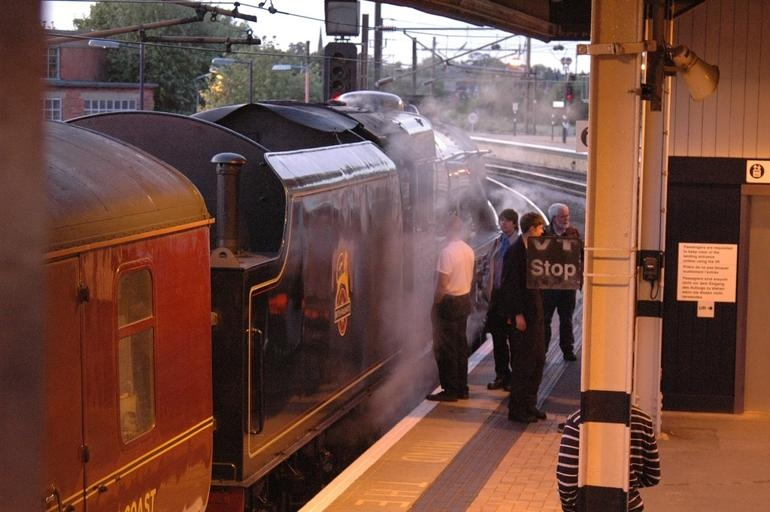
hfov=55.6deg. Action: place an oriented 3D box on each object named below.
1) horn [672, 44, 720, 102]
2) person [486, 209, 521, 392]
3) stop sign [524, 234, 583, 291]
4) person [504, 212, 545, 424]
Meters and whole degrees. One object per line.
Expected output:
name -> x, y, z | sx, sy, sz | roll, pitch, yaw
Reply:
horn -> 3.010, -1.836, 7.147 | 0.491, 0.436, 0.364 | 29, -10, -28
person -> 1.739, 0.600, 9.713 | 0.628, 2.128, 0.726 | 0, 2, -1
stop sign -> 1.479, 0.057, 6.374 | 0.506, 0.504, 0.072 | 0, -1, 4
person -> 1.607, 0.716, 8.421 | 0.411, 2.474, 1.328 | 3, 5, 27
